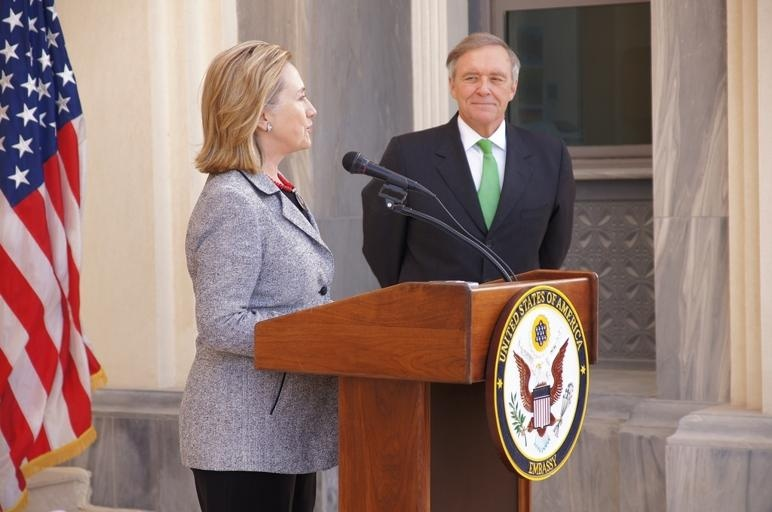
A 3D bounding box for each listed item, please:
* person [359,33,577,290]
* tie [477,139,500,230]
[{"bbox_3d":[0.468,-0.558,6.878,1.209,1.428,0.396,0,3,9],"label":"person"},{"bbox_3d":[0.587,-0.403,6.770,0.109,0.519,0.052,-4,-15,2],"label":"tie"}]
